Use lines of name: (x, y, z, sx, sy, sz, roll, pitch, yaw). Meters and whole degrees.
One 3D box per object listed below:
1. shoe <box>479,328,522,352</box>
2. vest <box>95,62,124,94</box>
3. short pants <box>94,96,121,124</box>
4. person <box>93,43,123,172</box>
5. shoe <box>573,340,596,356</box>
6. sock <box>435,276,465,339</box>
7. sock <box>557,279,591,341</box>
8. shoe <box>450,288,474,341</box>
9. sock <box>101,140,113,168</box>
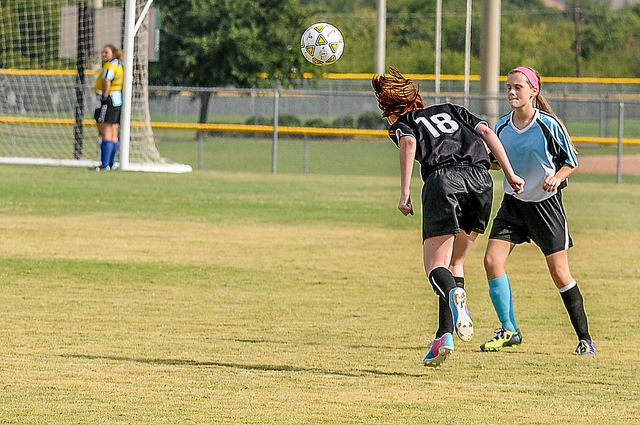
shoe: (2.478, 1.707, 17.701, 0.619, 0.295, 0.239, -3, 1, -13)
vest: (-4.081, -2.717, 25.518, 0.509, 0.783, 0.862, 4, 7, 6)
short pants: (-4.136, -1.979, 25.551, 0.634, 0.775, 0.442, 0, 4, -11)
person: (-4.133, -2.018, 25.592, 0.526, 2.474, 0.805, 1, 10, -10)
shoe: (3.546, 1.802, 17.576, 0.252, 0.183, 0.168, 2, -2, 15)
sock: (1.642, 1.253, 17.235, 0.377, 0.749, 0.500, 0, 0, 4)
sock: (3.434, 1.297, 17.711, 0.364, 0.805, 0.552, 0, -1, -4)
shoe: (1.819, 1.315, 17.081, 0.253, 0.707, 0.281, -18, -10, -9)
sock: (-4.203, -1.161, 25.869, 0.207, 0.575, 0.255, 1, 10, -9)
